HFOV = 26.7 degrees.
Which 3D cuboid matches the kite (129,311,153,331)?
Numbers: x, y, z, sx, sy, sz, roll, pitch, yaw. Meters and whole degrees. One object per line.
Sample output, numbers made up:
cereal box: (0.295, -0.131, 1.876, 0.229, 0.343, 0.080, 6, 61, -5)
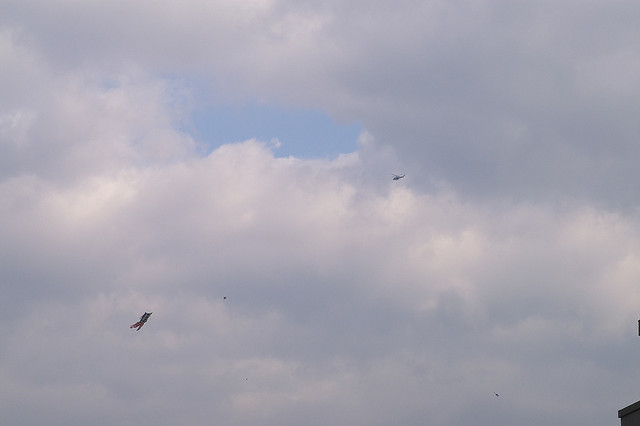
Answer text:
kite: (-43.395, 25.819, 328.207, 2.607, 4.652, 1.196, 14, -41, -9)
